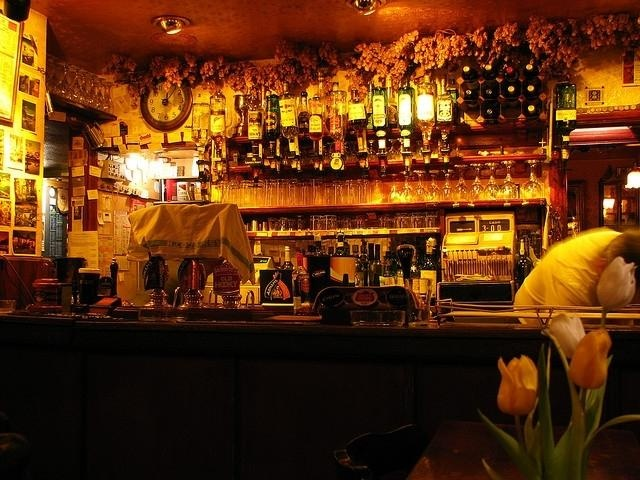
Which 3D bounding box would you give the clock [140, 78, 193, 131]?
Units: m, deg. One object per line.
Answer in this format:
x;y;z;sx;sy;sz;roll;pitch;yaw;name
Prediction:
-1.662;-1.501;7.361;0.584;0.688;0.102;1;-6;9;clock
